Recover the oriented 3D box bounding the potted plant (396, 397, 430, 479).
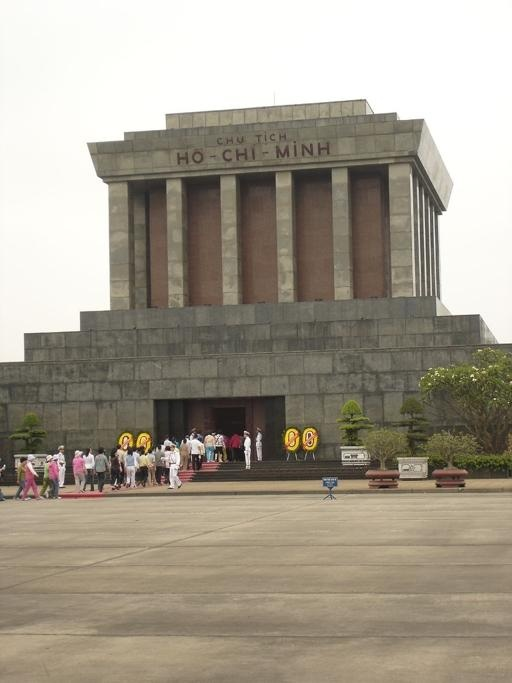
[{"bbox_3d":[4.245,2.576,46.888,0.601,2.887,0.744,-1,-4,-38],"label":"potted plant"}]

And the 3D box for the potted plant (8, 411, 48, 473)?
[{"bbox_3d":[-7.063,2.939,51.413,0.721,1.921,0.891,-2,-2,-36],"label":"potted plant"}]

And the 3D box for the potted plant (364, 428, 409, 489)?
[{"bbox_3d":[3.350,2.989,46.338,1.154,1.899,1.376,0,1,8],"label":"potted plant"}]
